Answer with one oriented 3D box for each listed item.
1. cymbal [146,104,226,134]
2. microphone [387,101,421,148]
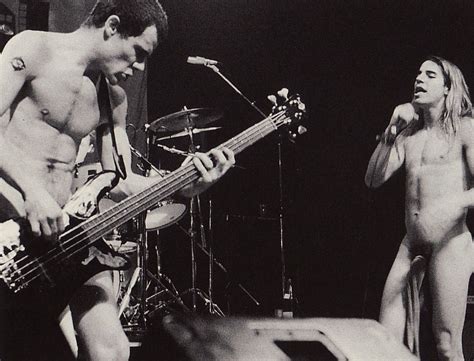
[{"bbox_3d":[-0.337,-0.447,4.339,0.484,0.110,0.506,-18,-9,31],"label":"cymbal"},{"bbox_3d":[1.242,-0.413,4.762,0.153,0.291,0.080,17,19,-24],"label":"microphone"}]
